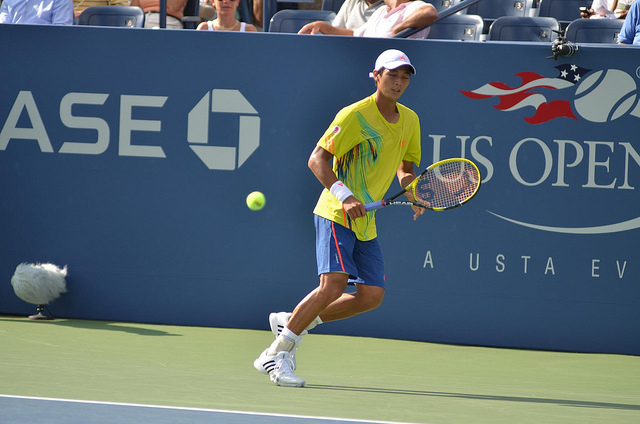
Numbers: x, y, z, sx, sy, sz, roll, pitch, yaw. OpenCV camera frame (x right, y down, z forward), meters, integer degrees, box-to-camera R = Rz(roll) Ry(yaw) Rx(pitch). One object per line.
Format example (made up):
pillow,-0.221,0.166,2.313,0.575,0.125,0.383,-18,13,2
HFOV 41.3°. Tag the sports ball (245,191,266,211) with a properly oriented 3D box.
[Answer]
sports ball,-0.579,-0.089,7.694,0.164,0.162,0.090,6,4,-5

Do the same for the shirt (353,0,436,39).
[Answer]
shirt,0.619,-1.781,7.922,0.320,0.298,0.770,8,-3,-42

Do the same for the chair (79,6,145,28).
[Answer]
chair,-2.145,-2.008,8.777,0.815,0.215,0.155,4,-3,23
